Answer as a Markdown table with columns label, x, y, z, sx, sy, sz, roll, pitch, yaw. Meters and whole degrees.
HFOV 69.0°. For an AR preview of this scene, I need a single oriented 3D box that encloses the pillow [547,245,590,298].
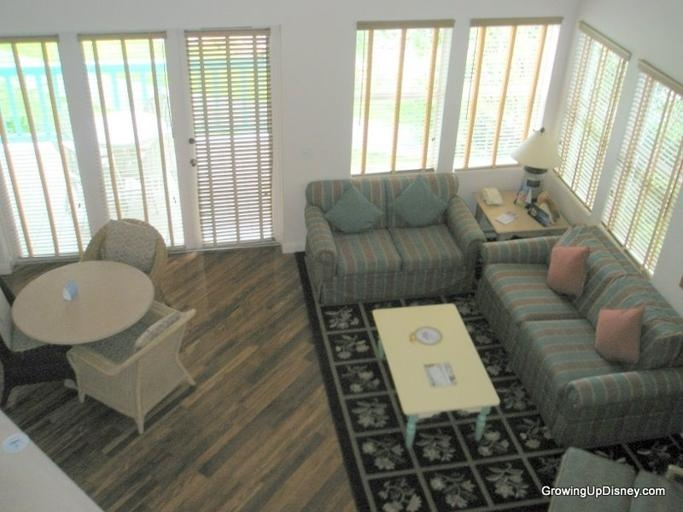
| label | x | y | z | sx | sy | sz | roll | pitch | yaw |
| --- | --- | --- | --- | --- | --- | --- | --- | --- | --- |
| pillow | 2.361 | 0.162 | 5.164 | 0.448 | 0.481 | 0.205 | 14 | 3 | 43 |

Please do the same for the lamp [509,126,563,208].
| label | x | y | z | sx | sy | sz | roll | pitch | yaw |
| --- | --- | --- | --- | --- | --- | --- | --- | --- | --- |
| lamp | 2.434 | -1.142 | 6.198 | 0.526 | 0.990 | 0.518 | -21 | 41 | -18 |

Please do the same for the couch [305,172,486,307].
| label | x | y | z | sx | sy | sz | roll | pitch | yaw |
| --- | --- | --- | --- | --- | --- | --- | --- | --- | --- |
| couch | 0.597 | -0.222 | 6.104 | 2.003 | 1.152 | 1.138 | -6 | 34 | -10 |

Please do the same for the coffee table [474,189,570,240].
| label | x | y | z | sx | sy | sz | roll | pitch | yaw |
| --- | --- | --- | --- | --- | --- | --- | --- | --- | --- |
| coffee table | 2.246 | -0.494 | 6.376 | 0.770 | 0.752 | 0.782 | -5 | 50 | -9 |

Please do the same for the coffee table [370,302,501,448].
| label | x | y | z | sx | sy | sz | roll | pitch | yaw |
| --- | --- | --- | --- | --- | --- | --- | --- | --- | --- |
| coffee table | 0.799 | 1.176 | 4.754 | 1.003 | 0.660 | 1.328 | -5 | 49 | -9 |

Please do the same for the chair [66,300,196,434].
| label | x | y | z | sx | sy | sz | roll | pitch | yaw |
| --- | --- | --- | --- | --- | --- | --- | --- | --- | --- |
| chair | -1.899 | 1.001 | 4.384 | 0.599 | 0.772 | 0.661 | 31 | 49 | 15 |
